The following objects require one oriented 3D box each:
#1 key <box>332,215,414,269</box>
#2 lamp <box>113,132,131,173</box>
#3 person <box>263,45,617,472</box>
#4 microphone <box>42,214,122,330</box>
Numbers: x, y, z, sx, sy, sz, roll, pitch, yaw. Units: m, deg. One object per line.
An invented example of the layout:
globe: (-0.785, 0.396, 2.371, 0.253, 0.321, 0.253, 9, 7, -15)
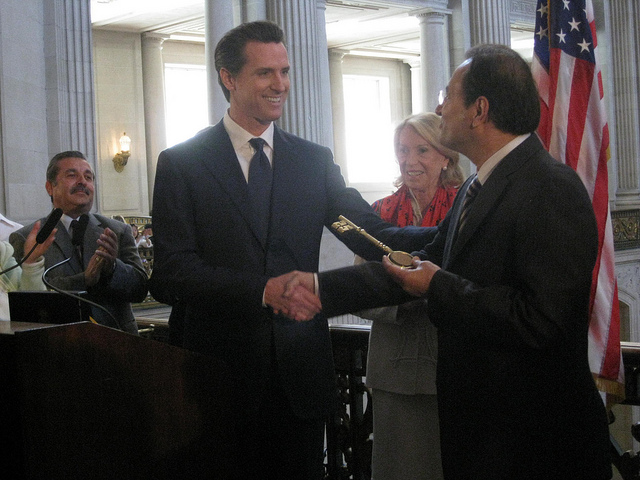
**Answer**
key: (0.204, 0.003, 2.120, 0.380, 0.028, 0.130, 28, -21, 14)
lamp: (-4.561, -1.982, 13.447, 0.384, 0.872, 0.256, -4, 5, -25)
person: (0.570, 0.062, 2.771, 1.346, 2.471, 1.034, 0, 0, 4)
microphone: (-1.012, 0.142, 2.477, 0.233, 0.482, 0.214, 14, 17, 38)
